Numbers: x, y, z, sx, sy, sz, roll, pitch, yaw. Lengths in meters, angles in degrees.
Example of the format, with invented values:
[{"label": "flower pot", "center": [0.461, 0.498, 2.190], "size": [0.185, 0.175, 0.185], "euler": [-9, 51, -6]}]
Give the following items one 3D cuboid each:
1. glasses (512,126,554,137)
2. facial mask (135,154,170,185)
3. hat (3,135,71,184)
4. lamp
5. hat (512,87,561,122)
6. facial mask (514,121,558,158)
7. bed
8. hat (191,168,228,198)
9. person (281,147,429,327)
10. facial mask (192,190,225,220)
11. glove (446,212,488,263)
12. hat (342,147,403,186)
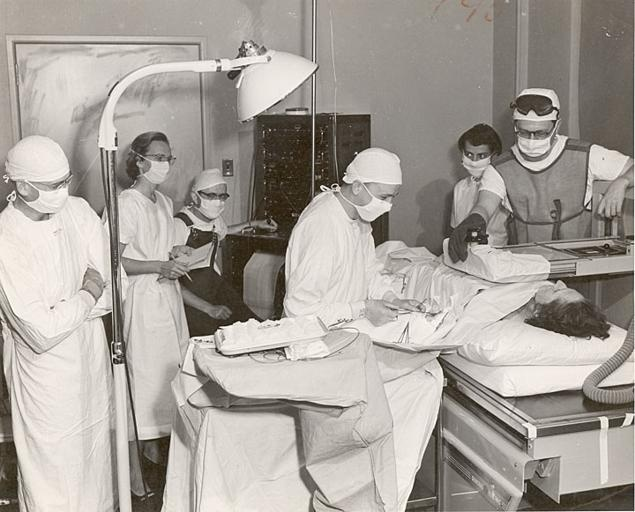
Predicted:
[{"label": "glasses", "center": [0.971, -0.549, 3.041], "size": [0.165, 0.060, 0.061], "euler": [-2, 4, 20]}, {"label": "facial mask", "center": [-0.812, -0.424, 3.394], "size": [0.114, 0.102, 0.116], "euler": [10, 10, 3]}, {"label": "hat", "center": [-1.012, -0.353, 2.430], "size": [0.177, 0.148, 0.161], "euler": [-1, 25, -18]}, {"label": "lamp", "center": [-0.535, 0.119, 2.786], "size": [0.767, 1.893, 1.055], "euler": [-6, 5, -36]}, {"label": "hat", "center": [0.965, -0.646, 3.041], "size": [0.136, 0.078, 0.158], "euler": [-6, -5, 12]}, {"label": "facial mask", "center": [0.977, -0.518, 3.050], "size": [0.133, 0.109, 0.175], "euler": [7, 39, 27]}, {"label": "bed", "center": [0.701, 0.459, 2.670], "size": [0.902, 0.274, 0.933], "euler": [-2, 30, -6]}, {"label": "hat", "center": [-0.603, -0.393, 3.734], "size": [0.133, 0.115, 0.159], "euler": [0, 0, -36]}, {"label": "person", "center": [0.113, -0.031, 2.729], "size": [0.493, 0.796, 0.532], "euler": [11, 2, 40]}, {"label": "facial mask", "center": [-0.585, -0.267, 3.714], "size": [0.113, 0.091, 0.138], "euler": [0, 26, -43]}, {"label": "glove", "center": [0.632, -0.078, 2.927], "size": [0.075, 0.198, 0.187], "euler": [23, 6, 19]}, {"label": "hat", "center": [0.217, -0.324, 2.702], "size": [0.180, 0.126, 0.142], "euler": [-5, -5, 35]}]
